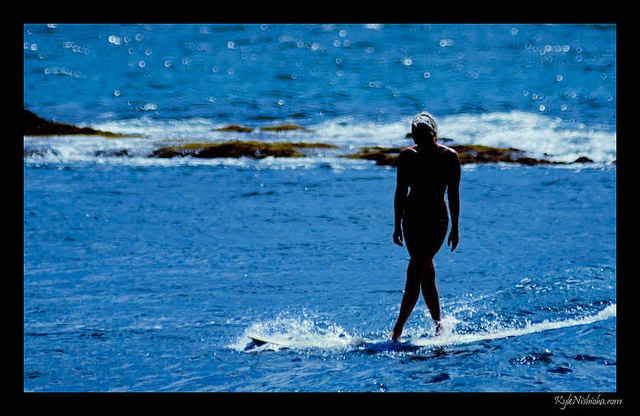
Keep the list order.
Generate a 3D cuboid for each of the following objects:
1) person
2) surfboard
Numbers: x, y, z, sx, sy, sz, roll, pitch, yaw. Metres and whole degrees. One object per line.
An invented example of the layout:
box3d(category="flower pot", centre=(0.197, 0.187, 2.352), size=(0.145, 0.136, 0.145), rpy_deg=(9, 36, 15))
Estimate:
box3d(category="person", centre=(1.064, 0.217, 11.525), size=(0.647, 2.327, 0.511), rpy_deg=(3, 14, 3))
box3d(category="surfboard", centre=(0.895, 1.343, 11.222), size=(3.589, 0.139, 0.336), rpy_deg=(-6, 5, 20))
